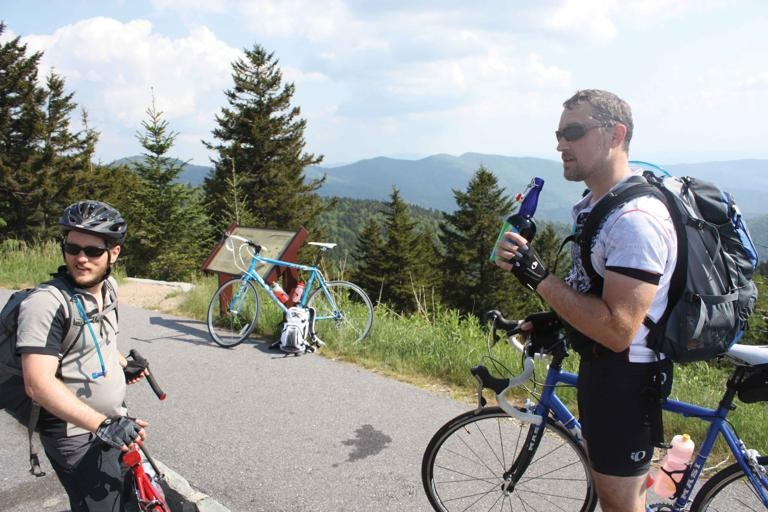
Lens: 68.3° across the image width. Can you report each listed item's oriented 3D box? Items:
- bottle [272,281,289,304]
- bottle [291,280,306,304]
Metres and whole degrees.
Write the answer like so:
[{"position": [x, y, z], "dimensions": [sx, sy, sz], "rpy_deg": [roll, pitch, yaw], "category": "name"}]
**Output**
[{"position": [-1.758, 0.641, 9.545], "dimensions": [0.288, 0.345, 0.477], "rpy_deg": [-3, 15, -10], "category": "bottle"}, {"position": [-1.463, 0.627, 9.493], "dimensions": [0.243, 0.358, 0.211], "rpy_deg": [-8, 16, -27], "category": "bottle"}]
